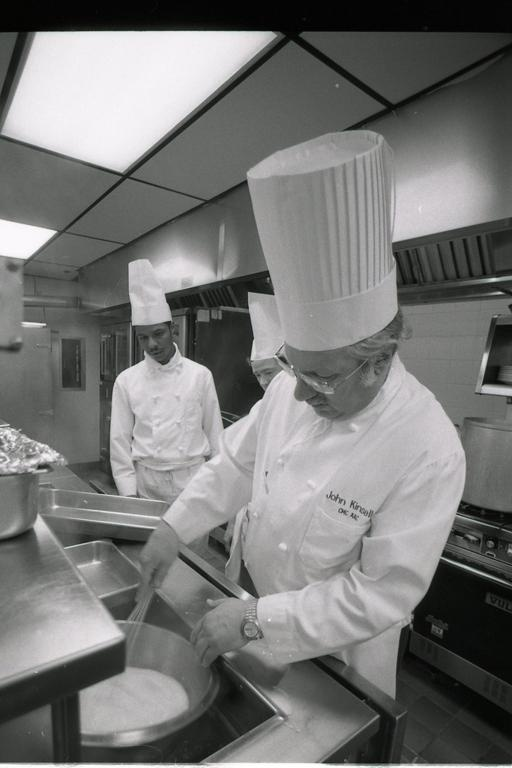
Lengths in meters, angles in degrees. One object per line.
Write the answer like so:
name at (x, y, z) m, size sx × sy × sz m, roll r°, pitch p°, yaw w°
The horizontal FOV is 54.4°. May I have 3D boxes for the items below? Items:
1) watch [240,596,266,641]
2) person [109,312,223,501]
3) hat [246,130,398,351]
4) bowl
watch at (-0.012, 0.376, 0.775) m, size 0.030 × 0.058 × 0.051 m, roll 5°, pitch -3°, yaw -7°
person at (-0.386, 0.267, 2.233) m, size 0.485 × 1.176 × 0.355 m, roll -2°, pitch 25°, yaw -9°
hat at (0.105, -0.204, 0.763) m, size 0.199 × 0.311 × 0.205 m, roll -1°, pitch 3°, yaw 18°
bowl at (-0.152, 0.425, 0.695) m, size 0.135 × 0.037 × 0.147 m, roll 0°, pitch 7°, yaw 0°
